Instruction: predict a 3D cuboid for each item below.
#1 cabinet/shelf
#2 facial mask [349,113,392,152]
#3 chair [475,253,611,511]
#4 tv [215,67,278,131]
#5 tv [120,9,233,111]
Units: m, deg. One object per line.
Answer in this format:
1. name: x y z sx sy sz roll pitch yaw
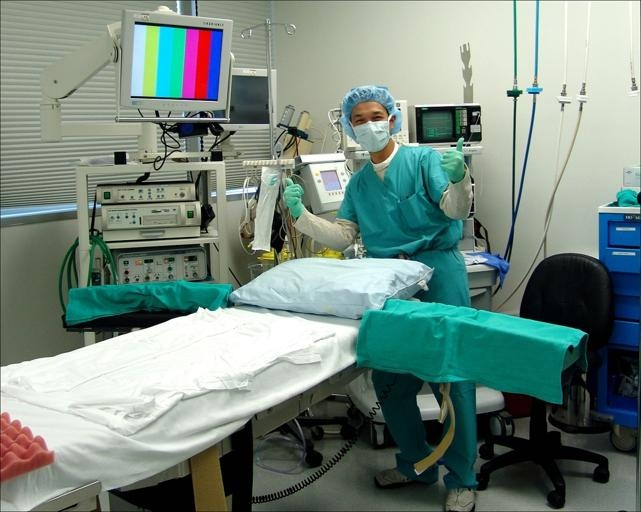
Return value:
1. cabinet/shelf: -0.983 -0.204 3.117 0.756 1.137 0.591 -6 11 -27
2. facial mask: 0.200 -0.532 2.375 0.151 0.137 0.128 2 17 14
3. chair: 1.026 0.502 2.529 0.549 0.973 0.796 6 12 38
4. tv: -0.461 -0.945 3.436 0.427 0.393 0.226 -5 15 -35
5. tv: -0.677 -0.900 2.562 0.462 0.408 0.152 -3 20 -29
